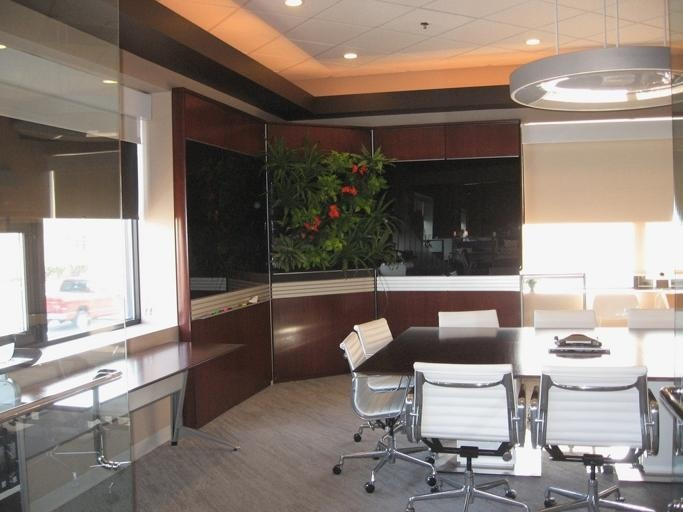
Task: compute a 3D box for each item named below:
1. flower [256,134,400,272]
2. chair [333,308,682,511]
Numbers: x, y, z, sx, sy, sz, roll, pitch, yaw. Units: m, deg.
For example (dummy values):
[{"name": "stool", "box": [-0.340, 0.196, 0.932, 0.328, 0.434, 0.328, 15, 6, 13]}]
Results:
[{"name": "flower", "box": [-0.106, -0.582, 6.689, 1.535, 1.569, 0.444, -5, 6, -28]}, {"name": "chair", "box": [1.238, 1.063, 4.459, 2.351, 1.049, 2.228, 2, 7, 36]}]
